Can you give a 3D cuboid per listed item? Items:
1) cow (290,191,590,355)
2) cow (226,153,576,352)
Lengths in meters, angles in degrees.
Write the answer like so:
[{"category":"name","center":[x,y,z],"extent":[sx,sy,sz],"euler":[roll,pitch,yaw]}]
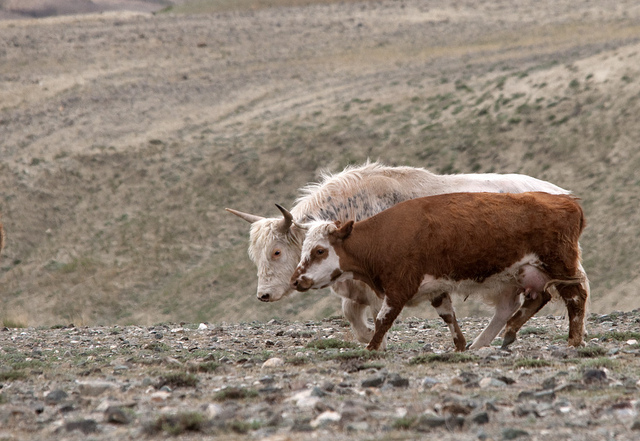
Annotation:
[{"category":"cow","center":[4.960,2.318,48.990],"extent":[11.829,6.499,3.344],"euler":[0,1,-1]},{"category":"cow","center":[4.814,1.856,51.003],"extent":[13.569,7.760,3.402],"euler":[-2,9,-13]}]
